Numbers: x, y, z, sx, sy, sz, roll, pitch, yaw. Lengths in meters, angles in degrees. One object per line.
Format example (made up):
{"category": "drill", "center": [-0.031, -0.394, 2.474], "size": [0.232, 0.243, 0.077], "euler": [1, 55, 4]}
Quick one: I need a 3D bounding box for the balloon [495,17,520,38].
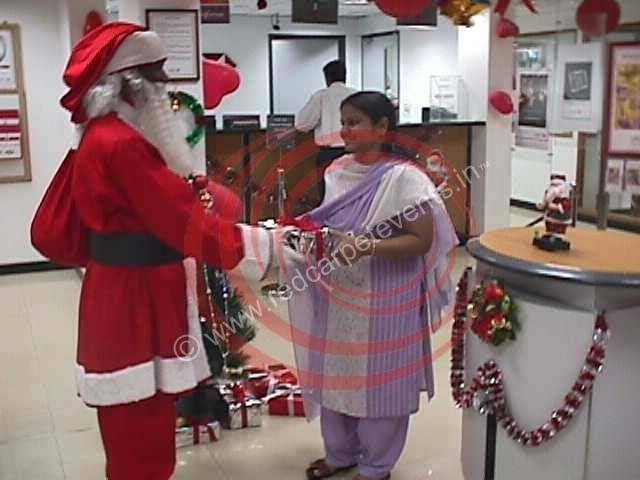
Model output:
{"category": "balloon", "center": [1.782, -2.018, 5.557], "size": [0.173, 0.188, 0.298], "euler": [1, 14, 7]}

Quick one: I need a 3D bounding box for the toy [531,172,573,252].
{"category": "toy", "center": [0.912, -0.116, 2.277], "size": [0.135, 0.271, 0.264], "euler": [5, 15, 23]}

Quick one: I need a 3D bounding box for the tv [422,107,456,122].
{"category": "tv", "center": [1.234, -1.309, 6.165], "size": [0.256, 0.130, 0.207], "euler": [-1, 11, 2]}

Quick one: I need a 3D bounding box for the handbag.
{"category": "handbag", "center": [-0.899, -0.107, 2.037], "size": [0.228, 0.370, 0.113], "euler": [8, 12, -4]}

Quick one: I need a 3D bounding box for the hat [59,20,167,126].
{"category": "hat", "center": [-0.724, -0.568, 2.000], "size": [0.333, 0.341, 0.226], "euler": [4, 14, 16]}

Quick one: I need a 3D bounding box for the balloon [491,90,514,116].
{"category": "balloon", "center": [1.809, -1.349, 5.805], "size": [0.253, 0.256, 0.232], "euler": [-1, 14, -3]}

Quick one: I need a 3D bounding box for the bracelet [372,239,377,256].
{"category": "bracelet", "center": [0.218, 0.030, 2.353], "size": [0.017, 0.047, 0.029], "euler": [5, 1, -18]}
